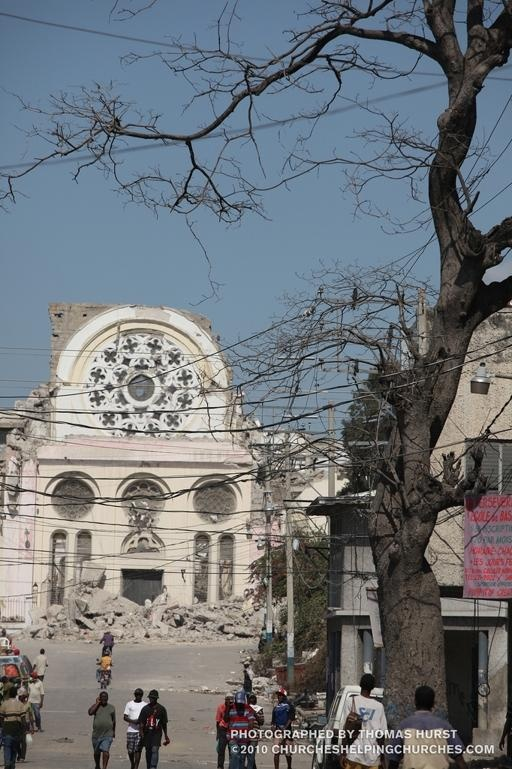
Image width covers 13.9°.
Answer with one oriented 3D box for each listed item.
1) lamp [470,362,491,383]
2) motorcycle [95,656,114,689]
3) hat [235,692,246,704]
[{"bbox_3d":[4.147,-0.223,38.701,0.357,0.507,0.358,4,-7,16],"label":"lamp"},{"bbox_3d":[-3.866,7.387,54.168,0.608,0.771,1.248,3,2,-1],"label":"motorcycle"},{"bbox_3d":[-0.247,5.438,36.570,0.157,0.200,0.205,3,5,0],"label":"hat"}]
